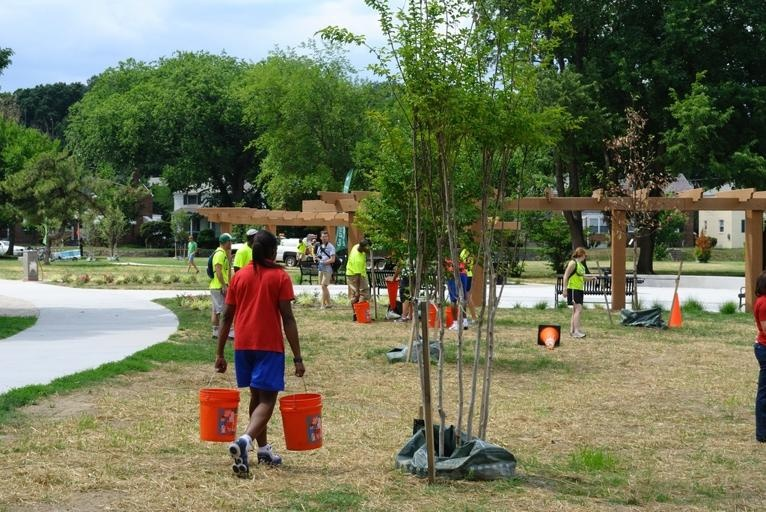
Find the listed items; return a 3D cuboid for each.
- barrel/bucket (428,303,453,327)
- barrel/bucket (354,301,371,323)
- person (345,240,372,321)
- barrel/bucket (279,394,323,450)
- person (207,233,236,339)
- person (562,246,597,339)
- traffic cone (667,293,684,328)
[{"bbox_3d":[1.682,1.810,36.753,0.829,0.654,0.855,-1,1,0],"label":"barrel/bucket"},{"bbox_3d":[-0.716,1.821,38.861,0.598,0.648,0.589,-3,-4,0],"label":"barrel/bucket"},{"bbox_3d":[-0.980,0.776,39.713,0.785,2.448,0.903,3,0,10],"label":"person"},{"bbox_3d":[-2.029,3.921,28.774,0.942,1.374,1.158,3,0,-30],"label":"barrel/bucket"},{"bbox_3d":[-4.778,0.694,34.652,1.084,3.357,1.138,0,-1,6],"label":"person"},{"bbox_3d":[6.026,1.105,37.037,0.991,2.811,0.873,0,0,-5],"label":"person"},{"bbox_3d":[9.497,1.753,38.899,0.480,1.115,1.069,0,-1,13],"label":"traffic cone"}]
